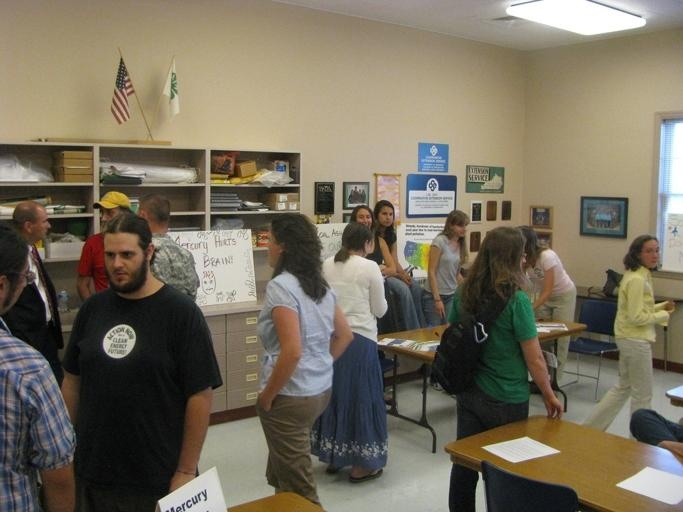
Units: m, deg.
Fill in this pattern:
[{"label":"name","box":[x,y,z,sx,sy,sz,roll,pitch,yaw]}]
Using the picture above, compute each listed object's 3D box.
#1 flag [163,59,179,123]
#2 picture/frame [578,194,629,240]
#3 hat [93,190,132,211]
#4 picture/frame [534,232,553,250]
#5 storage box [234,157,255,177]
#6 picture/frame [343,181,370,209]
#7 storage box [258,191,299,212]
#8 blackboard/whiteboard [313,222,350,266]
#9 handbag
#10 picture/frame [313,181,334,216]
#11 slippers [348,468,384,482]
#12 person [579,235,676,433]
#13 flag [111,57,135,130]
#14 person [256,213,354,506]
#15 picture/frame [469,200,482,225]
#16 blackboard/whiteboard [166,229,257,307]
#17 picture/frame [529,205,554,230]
[{"label":"flag","box":[-1.694,-1.670,5.171,0.156,0.595,0.304,-3,8,-16]},{"label":"picture/frame","box":[3.707,-0.549,7.346,0.044,0.596,0.571,-3,8,-38]},{"label":"hat","box":[-1.802,-0.425,4.136,0.283,0.154,0.199,2,2,-24]},{"label":"picture/frame","box":[2.694,-0.197,6.943,0.235,0.255,0.017,9,-18,-22]},{"label":"storage box","box":[-1.021,-0.927,5.527,0.177,0.194,0.125,2,-5,-14]},{"label":"picture/frame","box":[0.183,-0.754,6.534,0.417,0.347,0.068,-7,9,-38]},{"label":"storage box","box":[-0.634,-0.559,5.678,0.242,0.161,0.243,-2,3,-40]},{"label":"blackboard/whiteboard","box":[-0.094,-0.100,4.520,0.388,0.367,0.050,-4,3,-39]},{"label":"handbag","box":[0.696,0.601,3.080,0.321,0.464,0.127,1,8,19]},{"label":"picture/frame","box":[-0.236,-0.686,6.217,0.369,0.551,0.068,-3,5,-35]},{"label":"slippers","box":[0.191,1.703,4.141,0.234,0.066,0.093,1,1,-29]},{"label":"person","box":[2.534,0.708,4.567,0.508,1.740,0.852,5,9,39]},{"label":"flag","box":[-2.081,-1.579,4.956,0.209,0.648,0.292,-4,8,-19]},{"label":"person","box":[-0.240,0.572,2.887,0.466,1.583,0.353,-3,7,-11]},{"label":"picture/frame","box":[1.955,-0.645,7.681,0.341,0.422,0.039,-4,6,-43]},{"label":"blackboard/whiteboard","box":[-1.150,0.109,4.588,0.684,0.629,0.054,-1,-6,-31]},{"label":"picture/frame","box":[3.051,-0.578,7.944,0.031,0.440,0.405,-7,13,-38]}]
